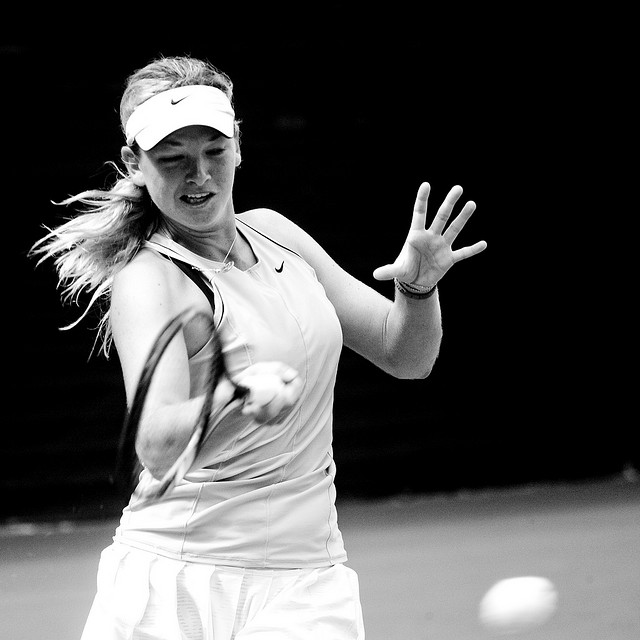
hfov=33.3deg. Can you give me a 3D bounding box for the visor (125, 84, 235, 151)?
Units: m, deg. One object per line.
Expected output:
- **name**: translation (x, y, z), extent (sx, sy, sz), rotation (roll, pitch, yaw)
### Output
- **visor**: translation (-0.320, -0.466, 2.468), extent (0.254, 0.173, 0.193), rotation (6, 6, -6)

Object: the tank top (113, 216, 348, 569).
- **tank top**: translation (-0.118, 0.118, 2.561), extent (0.465, 0.828, 0.641), rotation (-6, 16, -26)

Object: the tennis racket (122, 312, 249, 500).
- **tennis racket**: translation (-0.264, 0.178, 2.236), extent (0.306, 0.361, 0.403), rotation (-2, 13, -10)

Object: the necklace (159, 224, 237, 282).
- **necklace**: translation (-0.281, -0.149, 2.427), extent (0.128, 0.107, 0.136), rotation (-6, 14, -26)
